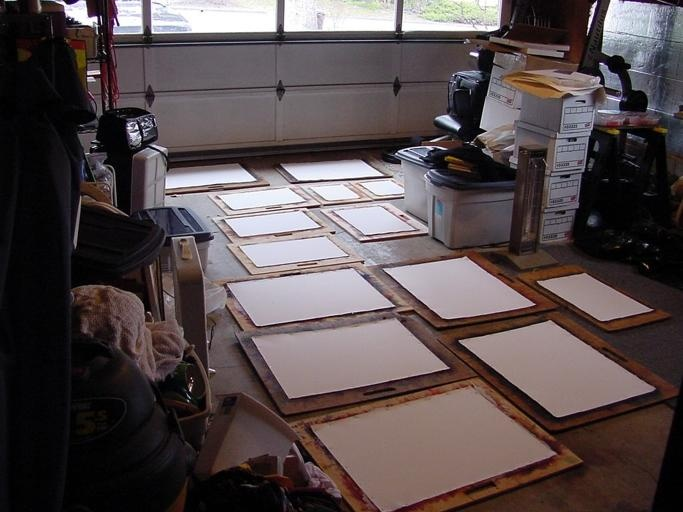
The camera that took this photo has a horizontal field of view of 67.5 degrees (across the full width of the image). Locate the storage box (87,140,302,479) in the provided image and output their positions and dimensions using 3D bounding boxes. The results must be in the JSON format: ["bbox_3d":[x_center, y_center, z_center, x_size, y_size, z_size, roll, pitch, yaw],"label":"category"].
[{"bbox_3d":[-0.507,0.312,2.114,0.702,0.365,1.058,-4,31,-21],"label":"storage box"}]

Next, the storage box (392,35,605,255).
[{"bbox_3d":[1.329,-1.059,4.550,1.490,1.574,1.518,2,24,2],"label":"storage box"}]
